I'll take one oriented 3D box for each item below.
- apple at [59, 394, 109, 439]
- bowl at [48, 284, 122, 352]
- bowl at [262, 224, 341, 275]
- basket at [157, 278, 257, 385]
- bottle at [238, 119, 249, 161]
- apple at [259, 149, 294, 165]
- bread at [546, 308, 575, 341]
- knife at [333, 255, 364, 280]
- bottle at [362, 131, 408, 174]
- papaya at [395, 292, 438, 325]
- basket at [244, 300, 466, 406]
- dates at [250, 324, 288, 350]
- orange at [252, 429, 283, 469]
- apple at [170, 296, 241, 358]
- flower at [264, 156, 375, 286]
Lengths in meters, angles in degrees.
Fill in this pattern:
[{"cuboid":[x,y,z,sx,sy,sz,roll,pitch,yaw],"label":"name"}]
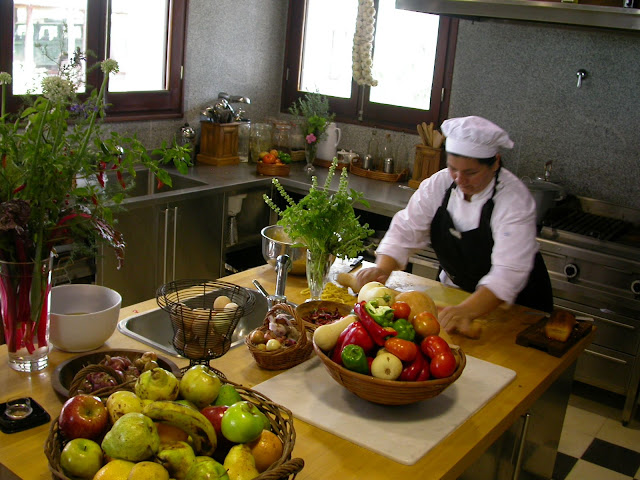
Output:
[{"cuboid":[-0.465,0.360,0.854,0.097,0.097,0.096,-1,-21,-24],"label":"apple"},{"cuboid":[-0.755,0.244,1.388,0.212,0.131,0.215,9,20,-3],"label":"bowl"},{"cuboid":[-0.167,0.024,2.093,0.244,0.147,0.223,1,28,-1],"label":"bowl"},{"cuboid":[-0.354,0.244,1.372,0.297,0.246,0.317,4,8,-4],"label":"basket"},{"cuboid":[-0.727,-0.949,4.193,0.114,0.373,0.286,-2,19,-10],"label":"bottle"},{"cuboid":[-0.412,-0.747,3.922,0.183,0.091,0.199,4,15,7],"label":"apple"},{"cuboid":[0.980,0.332,1.772,0.076,0.056,0.164,12,22,25],"label":"bread"},{"cuboid":[0.130,0.137,2.192,0.082,0.022,0.165,10,21,32],"label":"knife"},{"cuboid":[0.643,-0.832,4.164,0.408,0.384,0.148,6,-3,17],"label":"bottle"},{"cuboid":[0.335,0.232,1.509,0.105,0.106,0.101,13,-24,-31],"label":"papaya"},{"cuboid":[0.156,0.274,1.134,0.275,0.105,0.284,-13,32,-31],"label":"basket"},{"cuboid":[-0.160,0.315,1.387,0.078,0.033,0.083,0,17,-8],"label":"dates"},{"cuboid":[-0.099,0.414,0.848,0.058,0.060,0.060,-9,-25,16],"label":"orange"},{"cuboid":[-0.334,0.263,1.311,0.179,0.144,0.182,9,12,9],"label":"apple"},{"cuboid":[-0.021,-0.051,1.899,0.349,0.472,0.413,-1,-9,-4],"label":"flower"}]
